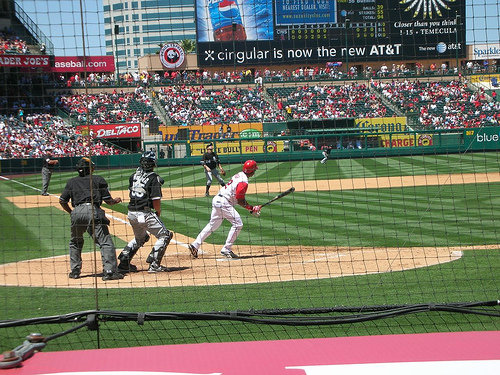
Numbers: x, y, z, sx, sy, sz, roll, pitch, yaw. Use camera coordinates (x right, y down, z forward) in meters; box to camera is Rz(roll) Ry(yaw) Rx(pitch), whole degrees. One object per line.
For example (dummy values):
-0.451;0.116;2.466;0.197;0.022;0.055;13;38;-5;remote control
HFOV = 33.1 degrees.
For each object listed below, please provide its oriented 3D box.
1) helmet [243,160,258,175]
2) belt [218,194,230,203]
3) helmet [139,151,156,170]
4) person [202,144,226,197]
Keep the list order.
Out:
0.019;-0.560;23.016;0.323;0.216;0.422;21;42;24;helmet
-0.718;0.285;23.037;0.401;0.134;0.104;29;50;11;belt
-2.704;-0.698;22.242;0.414;0.476;0.492;-3;13;-7;helmet
-1.403;-0.730;31.146;1.133;2.132;0.991;-7;11;-41;person
